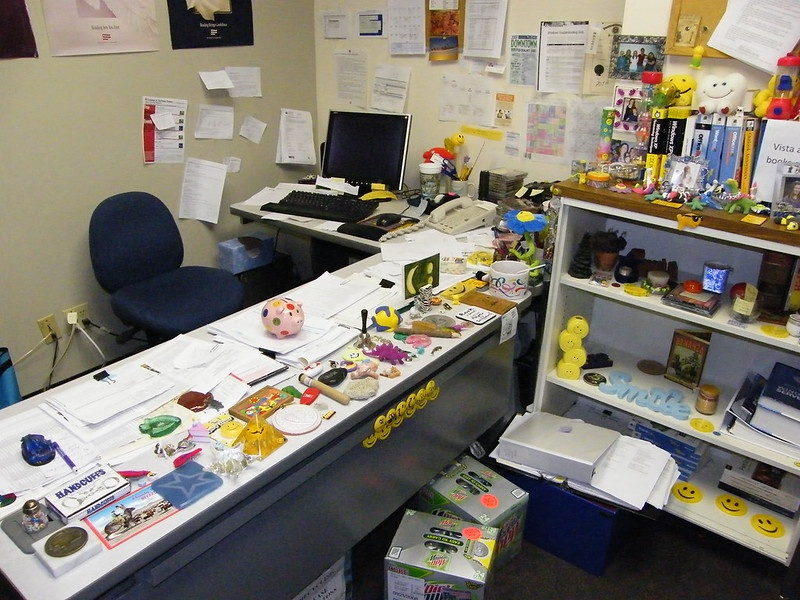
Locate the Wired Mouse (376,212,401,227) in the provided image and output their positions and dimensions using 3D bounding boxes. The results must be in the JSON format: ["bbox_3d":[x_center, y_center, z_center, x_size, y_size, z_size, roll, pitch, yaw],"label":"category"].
[{"bbox_3d":[-0.054,-0.387,2.699,0.072,0.023,0.095,17,28,28],"label":"Wired Mouse"}]

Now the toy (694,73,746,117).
[{"bbox_3d":[1.044,-0.655,1.800,0.144,0.136,0.101,9,-16,36],"label":"toy"}]

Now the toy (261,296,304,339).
[{"bbox_3d":[-0.374,0.059,1.848,0.147,0.110,0.112,17,26,21],"label":"toy"}]

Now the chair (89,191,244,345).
[{"bbox_3d":[-1.146,-0.143,2.663,0.540,0.683,0.432,27,42,23],"label":"chair"}]

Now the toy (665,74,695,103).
[{"bbox_3d":[0.943,-0.700,1.860,0.090,0.081,0.109,5,21,25],"label":"toy"}]

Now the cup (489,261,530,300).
[{"bbox_3d":[0.414,-0.060,2.151,0.158,0.106,0.142,7,31,10],"label":"cup"}]

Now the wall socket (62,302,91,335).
[{"bbox_3d":[-1.630,0.087,2.797,0.017,0.148,0.155,11,13,34],"label":"wall socket"}]

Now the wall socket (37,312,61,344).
[{"bbox_3d":[-1.720,0.132,2.722,0.020,0.184,0.111,22,30,32],"label":"wall socket"}]

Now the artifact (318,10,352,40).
[{"bbox_3d":[-0.363,-1.578,3.201,0.187,0.137,0.036,21,37,29],"label":"artifact"}]

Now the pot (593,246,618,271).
[{"bbox_3d":[0.766,-0.164,2.123,0.082,0.088,0.080,1,24,0],"label":"pot"}]

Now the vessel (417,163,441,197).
[{"bbox_3d":[0.161,-0.619,2.893,0.129,0.171,0.129,23,40,31],"label":"vessel"}]

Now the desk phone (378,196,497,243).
[{"bbox_3d":[0.232,-0.370,2.624,0.429,0.108,0.267,-24,34,-33],"label":"desk phone"}]
